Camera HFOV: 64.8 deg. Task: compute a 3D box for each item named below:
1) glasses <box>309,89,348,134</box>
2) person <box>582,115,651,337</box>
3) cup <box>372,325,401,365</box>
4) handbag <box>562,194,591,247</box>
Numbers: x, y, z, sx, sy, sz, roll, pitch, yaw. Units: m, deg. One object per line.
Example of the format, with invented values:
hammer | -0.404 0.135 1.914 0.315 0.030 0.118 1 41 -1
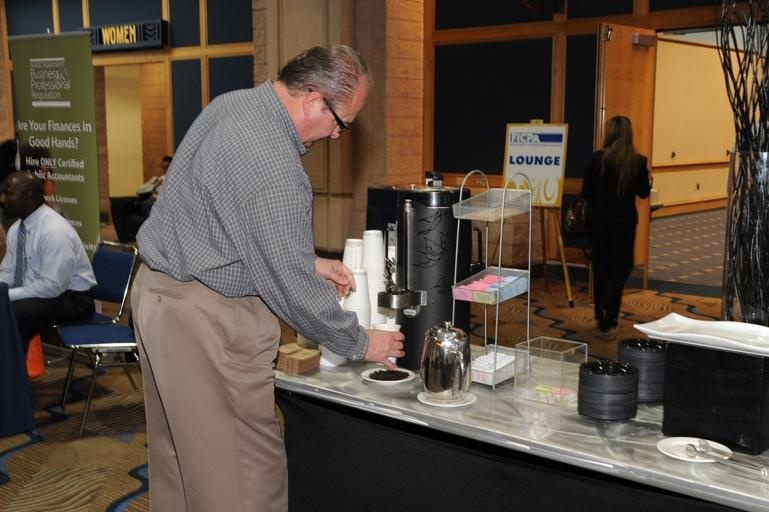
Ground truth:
glasses | -0.183 -0.492 2.122 0.036 0.135 0.129 -24 4 1
person | 2.107 -0.311 5.671 0.541 1.940 0.562 11 17 42
cup | 0.002 0.349 2.365 0.140 0.145 0.139 -1 -1 0
handbag | 1.987 -0.378 6.325 0.261 0.587 0.595 14 1 18
